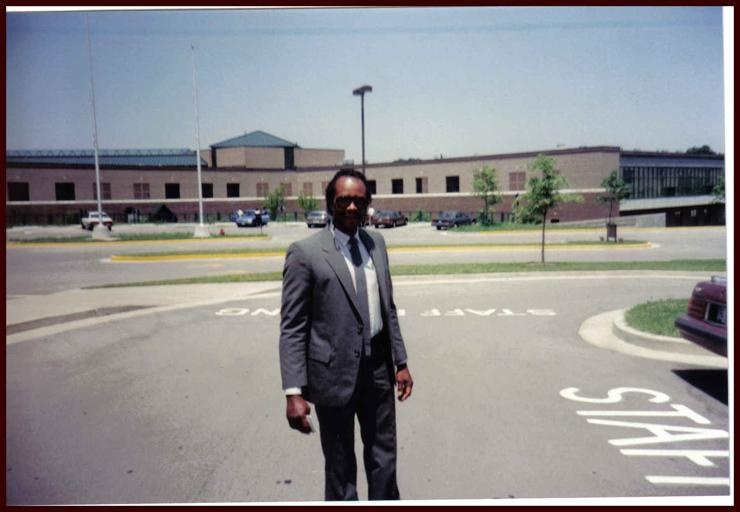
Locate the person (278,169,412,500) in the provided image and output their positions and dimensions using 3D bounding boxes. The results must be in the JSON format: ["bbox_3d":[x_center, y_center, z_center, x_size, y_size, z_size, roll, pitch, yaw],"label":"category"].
[{"bbox_3d":[-0.259,0.783,5.337,1.196,3.229,0.561,-3,7,-11],"label":"person"}]
